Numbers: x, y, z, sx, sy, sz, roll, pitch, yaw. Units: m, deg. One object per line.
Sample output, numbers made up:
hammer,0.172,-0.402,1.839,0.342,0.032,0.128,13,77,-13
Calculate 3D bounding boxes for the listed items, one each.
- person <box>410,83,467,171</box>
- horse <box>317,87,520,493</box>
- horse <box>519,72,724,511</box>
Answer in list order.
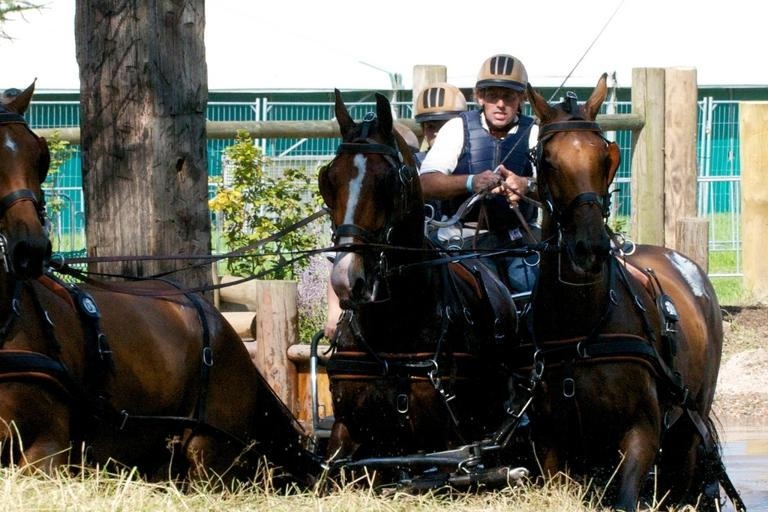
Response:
person,0.555,-1.197,15.822,0.646,0.786,0.712,-3,8,24
horse,0.390,0.741,14.118,1.271,3.509,4.393,-2,-3,16
horse,2.081,0.357,13.654,1.013,3.568,2.464,1,4,33
